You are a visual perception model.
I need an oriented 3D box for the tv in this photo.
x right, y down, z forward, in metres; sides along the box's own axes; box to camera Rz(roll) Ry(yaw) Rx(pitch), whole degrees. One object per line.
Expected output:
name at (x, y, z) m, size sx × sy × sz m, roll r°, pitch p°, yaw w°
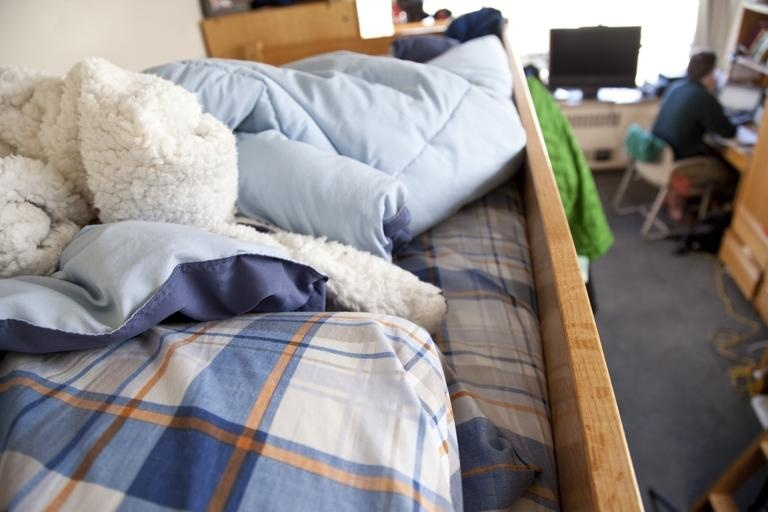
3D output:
tv at (1.182, -1.124, 3.251) m, size 0.429 × 0.435 × 0.106 m, roll 5°, pitch 27°, yaw 5°

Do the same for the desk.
desk at (1.257, -0.722, 3.202) m, size 0.517 × 0.262 × 0.388 m, roll 1°, pitch 75°, yaw 10°
